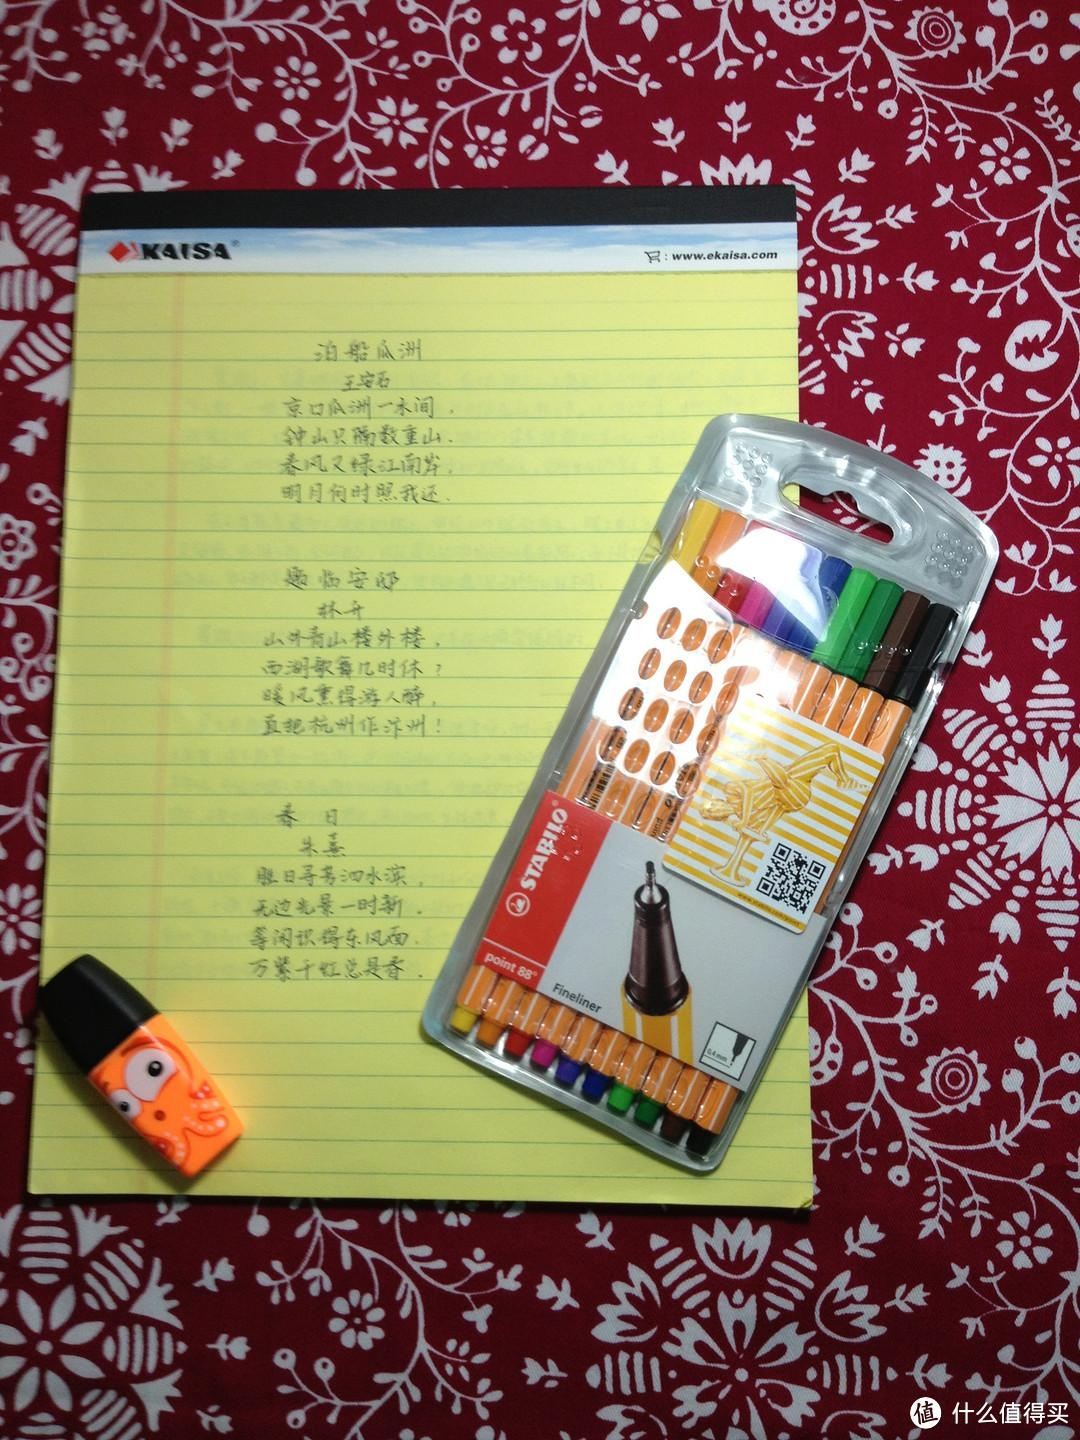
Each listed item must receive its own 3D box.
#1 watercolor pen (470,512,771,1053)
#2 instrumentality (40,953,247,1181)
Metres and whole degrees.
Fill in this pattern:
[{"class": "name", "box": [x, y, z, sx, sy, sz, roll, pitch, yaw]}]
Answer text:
[{"class": "watercolor pen", "box": [0.057, 0.029, 0.687, 0.148, 0.045, 0.259, 29, 91, 6]}, {"class": "instrumentality", "box": [-0.201, 0.184, 0.739, 0.147, 0.035, 0.068, 45, 81, 0]}]
